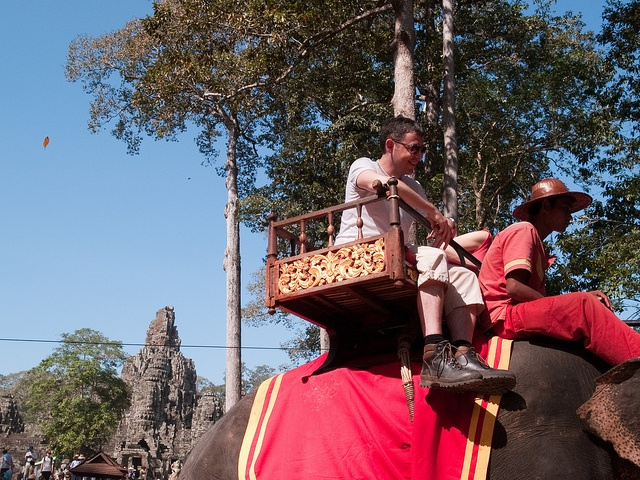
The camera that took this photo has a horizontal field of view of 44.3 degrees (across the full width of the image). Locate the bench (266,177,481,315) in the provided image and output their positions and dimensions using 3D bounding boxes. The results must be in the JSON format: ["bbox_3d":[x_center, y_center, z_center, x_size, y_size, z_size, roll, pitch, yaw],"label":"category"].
[{"bbox_3d":[0.325,0.420,8.437,1.489,1.127,1.581,-7,-14,31],"label":"bench"}]
